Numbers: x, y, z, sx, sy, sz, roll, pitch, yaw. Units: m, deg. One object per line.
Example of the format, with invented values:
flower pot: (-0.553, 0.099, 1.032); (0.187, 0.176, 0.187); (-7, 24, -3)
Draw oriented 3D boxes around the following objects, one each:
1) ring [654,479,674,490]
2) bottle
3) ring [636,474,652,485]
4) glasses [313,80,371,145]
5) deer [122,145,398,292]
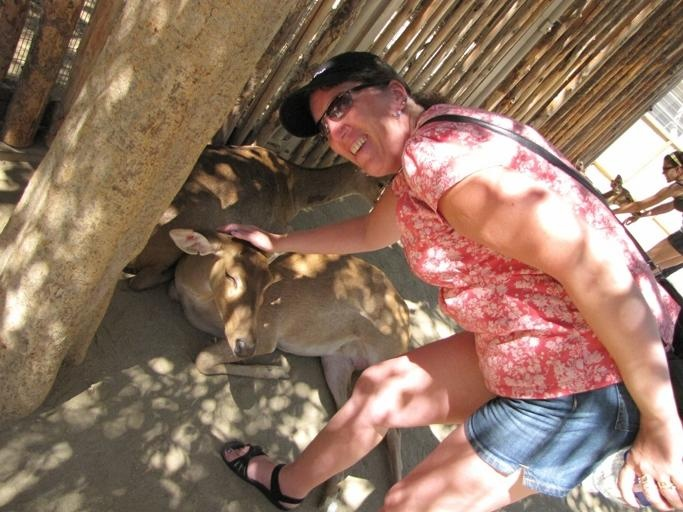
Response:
ring: (1.016, 0.731, 1.429); (0.035, 0.009, 0.033); (29, -3, 2)
bottle: (1.056, 0.857, 1.762); (0.167, 0.239, 0.435); (2, -7, 35)
ring: (0.973, 0.732, 1.481); (0.037, 0.040, 0.010); (4, 12, 7)
glasses: (0.010, -0.630, 1.980); (0.198, 0.197, 0.061); (-39, 91, -32)
deer: (-0.743, -0.460, 3.931); (2.392, 1.277, 0.707); (-7, 65, -33)
